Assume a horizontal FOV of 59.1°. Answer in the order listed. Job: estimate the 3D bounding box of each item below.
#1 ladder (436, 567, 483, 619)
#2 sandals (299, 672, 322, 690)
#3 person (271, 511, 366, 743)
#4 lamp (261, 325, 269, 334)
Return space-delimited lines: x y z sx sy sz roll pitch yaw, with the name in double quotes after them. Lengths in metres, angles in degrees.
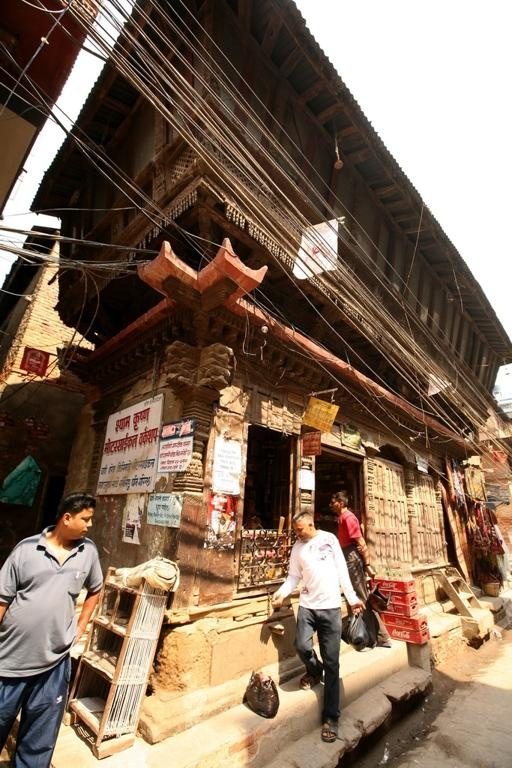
4.219 4.334 9.346 0.688 1.265 0.360 -7 -21 -45 "ladder"
0.541 2.926 4.473 0.111 0.113 0.313 -8 -28 26 "sandals"
0.583 2.192 4.239 0.825 1.949 0.538 -3 -7 12 "person"
0.107 -0.669 5.510 0.081 0.083 0.050 4 -12 -4 "lamp"
